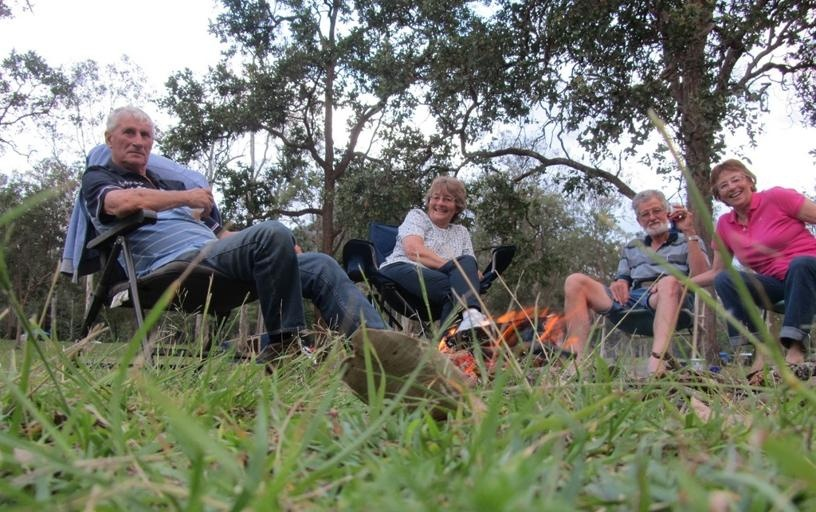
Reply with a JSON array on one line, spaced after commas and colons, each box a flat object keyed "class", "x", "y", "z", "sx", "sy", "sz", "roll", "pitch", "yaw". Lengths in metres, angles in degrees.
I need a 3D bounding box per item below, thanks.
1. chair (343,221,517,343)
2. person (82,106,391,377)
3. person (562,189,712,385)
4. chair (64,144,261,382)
[{"class": "chair", "x": 0.098, "y": 0.314, "z": 4.105, "sx": 0.946, "sy": 1.025, "sz": 0.791, "roll": 2, "pitch": -4, "yaw": 13}, {"class": "person", "x": -0.745, "y": -0.142, "z": 2.706, "sx": 1.383, "sy": 1.087, "sz": 0.585, "roll": -1, "pitch": -2, "yaw": 16}, {"class": "person", "x": 1.433, "y": 0.116, "z": 3.760, "sx": 0.692, "sy": 1.212, "sz": 0.948, "roll": -4, "pitch": -16, "yaw": 42}, {"class": "chair", "x": -1.027, "y": -0.066, "z": 2.816, "sx": 0.913, "sy": 1.084, "sz": 0.783, "roll": -3, "pitch": -5, "yaw": 29}]
